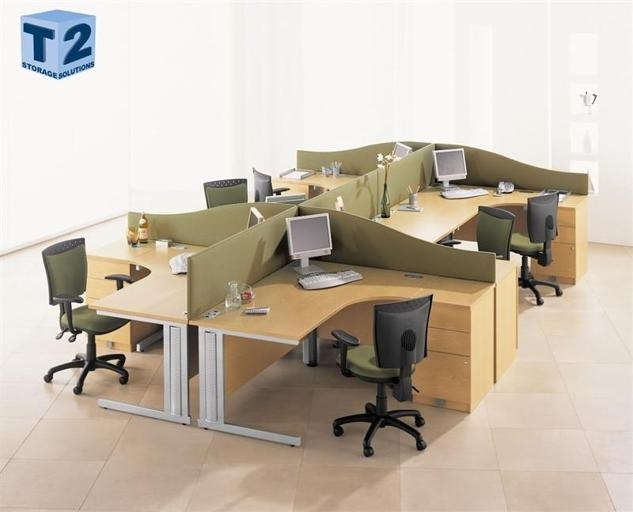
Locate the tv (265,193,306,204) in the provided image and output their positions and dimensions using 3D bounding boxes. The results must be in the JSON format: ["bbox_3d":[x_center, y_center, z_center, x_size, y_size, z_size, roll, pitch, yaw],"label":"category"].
[{"bbox_3d":[-0.319,-0.594,5.830,0.395,0.079,0.914,-3,14,-3],"label":"tv"}]

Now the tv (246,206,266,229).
[{"bbox_3d":[-0.527,-0.340,4.843,0.083,0.207,0.250,-2,8,-29],"label":"tv"}]

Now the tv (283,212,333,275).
[{"bbox_3d":[-0.075,-0.116,4.685,0.493,0.557,0.222,-8,9,-31],"label":"tv"}]

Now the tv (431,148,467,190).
[{"bbox_3d":[1.762,-1.156,7.245,0.533,0.576,0.223,-10,13,-23],"label":"tv"}]

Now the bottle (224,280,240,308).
[{"bbox_3d":[-0.621,0.258,4.066,0.118,0.173,0.327,-5,15,-7],"label":"bottle"}]

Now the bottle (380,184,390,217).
[{"bbox_3d":[0.792,-0.635,6.301,0.093,0.344,0.353,-1,15,7],"label":"bottle"}]

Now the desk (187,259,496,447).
[{"bbox_3d":[0.292,0.554,3.976,1.509,0.739,1.477,4,12,26],"label":"desk"}]

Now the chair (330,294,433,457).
[{"bbox_3d":[0.468,0.752,3.722,0.649,0.965,0.611,-3,5,-31],"label":"chair"}]
